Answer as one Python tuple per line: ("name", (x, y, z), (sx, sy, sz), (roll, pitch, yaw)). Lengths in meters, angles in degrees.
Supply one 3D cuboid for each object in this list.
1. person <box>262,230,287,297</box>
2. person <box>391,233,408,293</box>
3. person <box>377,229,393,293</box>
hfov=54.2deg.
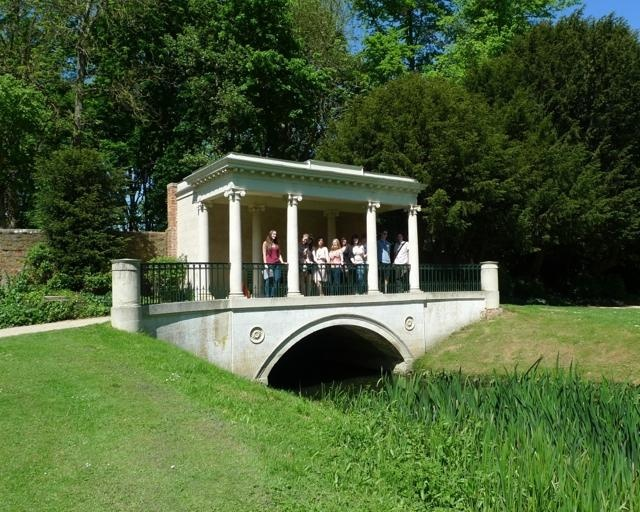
("person", (-1.516, 0.292, 19.800), (0.568, 1.917, 0.940), (-5, -7, 41))
("person", (3.017, 0.276, 23.213), (0.584, 2.115, 1.088), (-2, -6, 8))
("person", (2.348, 0.257, 22.654), (0.521, 2.179, 1.034), (-1, -6, 5))
